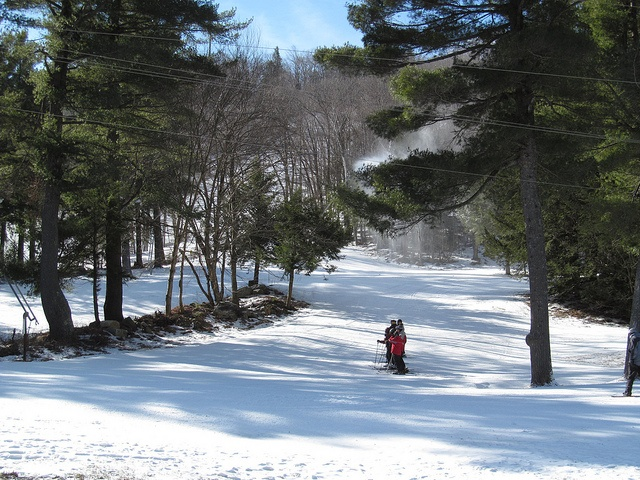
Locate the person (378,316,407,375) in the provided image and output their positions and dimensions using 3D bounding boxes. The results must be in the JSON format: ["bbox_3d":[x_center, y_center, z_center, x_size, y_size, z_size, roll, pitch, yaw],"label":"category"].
[{"bbox_3d":[2.455,3.440,31.358,0.624,1.568,1.103,-1,1,-9],"label":"person"}]
